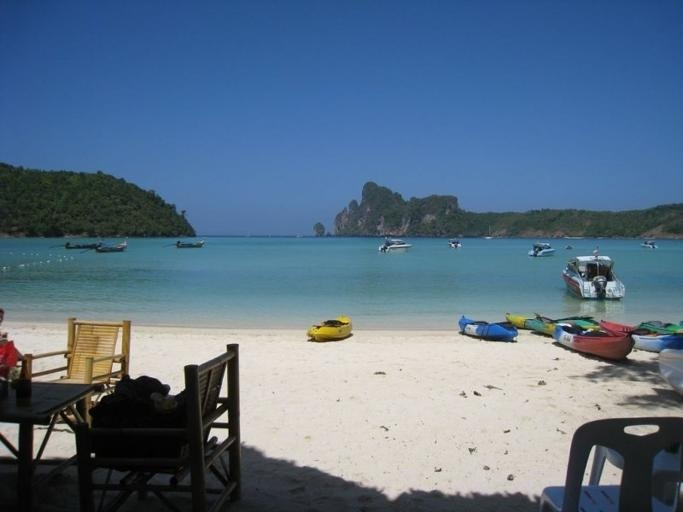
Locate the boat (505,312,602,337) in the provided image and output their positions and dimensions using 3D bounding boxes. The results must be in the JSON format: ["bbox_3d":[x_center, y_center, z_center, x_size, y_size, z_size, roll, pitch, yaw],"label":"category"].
[{"bbox_3d":[5.856,1.988,14.904,0.940,0.688,4.146,-7,-4,-15],"label":"boat"}]

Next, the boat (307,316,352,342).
[{"bbox_3d":[-0.329,2.013,14.311,0.890,0.457,1.675,2,5,18],"label":"boat"}]

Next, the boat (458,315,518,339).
[{"bbox_3d":[3.914,1.895,14.280,0.562,0.417,1.793,0,-1,-13],"label":"boat"}]

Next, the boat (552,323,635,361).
[{"bbox_3d":[5.475,1.801,11.468,0.869,0.688,2.188,0,4,2],"label":"boat"}]

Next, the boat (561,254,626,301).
[{"bbox_3d":[12.926,1.027,27.216,1.710,2.280,4.008,1,5,11],"label":"boat"}]
